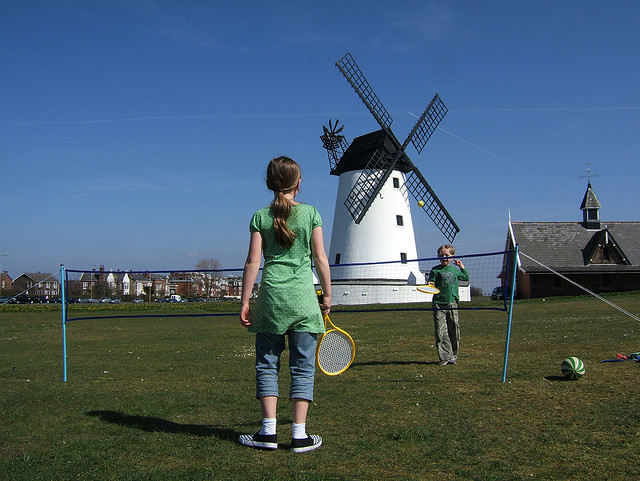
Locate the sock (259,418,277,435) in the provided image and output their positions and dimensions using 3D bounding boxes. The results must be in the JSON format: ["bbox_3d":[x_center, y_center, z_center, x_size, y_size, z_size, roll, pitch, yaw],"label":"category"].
[{"bbox_3d":[-0.582,2.019,6.405,0.173,0.186,0.117,-1,-2,-7],"label":"sock"}]

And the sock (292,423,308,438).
[{"bbox_3d":[-0.221,2.053,6.402,0.166,0.162,0.195,-1,-2,-2],"label":"sock"}]

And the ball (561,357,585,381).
[{"bbox_3d":[4.039,2.017,9.258,0.273,0.313,0.387,-3,-3,43],"label":"ball"}]

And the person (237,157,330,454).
[{"bbox_3d":[-0.386,0.661,6.486,0.983,3.229,0.387,-1,-2,-2],"label":"person"}]

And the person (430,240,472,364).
[{"bbox_3d":[2.470,1.193,11.089,0.693,2.231,1.495,-2,-2,11],"label":"person"}]
